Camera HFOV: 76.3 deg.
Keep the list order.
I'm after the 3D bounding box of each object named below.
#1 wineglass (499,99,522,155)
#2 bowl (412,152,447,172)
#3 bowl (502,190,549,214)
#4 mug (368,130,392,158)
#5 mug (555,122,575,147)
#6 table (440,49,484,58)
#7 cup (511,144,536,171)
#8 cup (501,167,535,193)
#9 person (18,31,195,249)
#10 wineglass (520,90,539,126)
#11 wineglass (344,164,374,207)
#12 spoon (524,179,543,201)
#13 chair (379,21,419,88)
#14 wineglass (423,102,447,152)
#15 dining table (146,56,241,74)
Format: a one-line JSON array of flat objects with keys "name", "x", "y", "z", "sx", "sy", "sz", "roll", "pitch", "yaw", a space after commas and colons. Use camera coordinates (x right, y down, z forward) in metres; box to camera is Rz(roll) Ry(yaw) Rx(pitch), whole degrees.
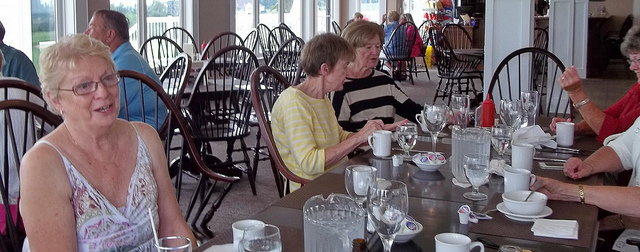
[{"name": "wineglass", "x": 1.849, "y": 0.008, "z": 3.950, "sx": 0.203, "sy": 0.475, "sz": 0.201, "roll": -6, "pitch": 8, "yaw": -38}, {"name": "bowl", "x": 0.940, "y": 0.296, "z": 3.523, "sx": 0.264, "sy": 0.111, "sz": 0.254, "roll": -6, "pitch": 20, "yaw": 2}, {"name": "bowl", "x": 1.548, "y": 0.590, "z": 3.078, "sx": 0.309, "sy": 0.115, "sz": 0.312, "roll": -3, "pitch": 6, "yaw": 0}, {"name": "mug", "x": 0.567, "y": 0.174, "z": 3.794, "sx": 0.215, "sy": 0.273, "sz": 0.311, "roll": 0, "pitch": -8, "yaw": -22}, {"name": "mug", "x": 2.336, "y": 0.074, "z": 3.840, "sx": 0.249, "sy": 0.216, "sz": 0.134, "roll": -3, "pitch": 8, "yaw": -11}, {"name": "table", "x": 2.896, "y": -1.414, "z": 7.930, "sx": 0.515, "sy": 0.193, "sz": 0.888, "roll": 1, "pitch": 8, "yaw": 17}, {"name": "cup", "x": 1.744, "y": 0.278, "z": 3.512, "sx": 0.181, "sy": 0.242, "sz": 0.289, "roll": 5, "pitch": 10, "yaw": 32}, {"name": "cup", "x": 1.594, "y": 0.436, "z": 3.199, "sx": 0.192, "sy": 0.164, "sz": 0.237, "roll": -6, "pitch": 5, "yaw": -20}, {"name": "person", "x": -1.716, "y": 0.127, "z": 3.117, "sx": 1.137, "sy": 1.647, "sz": 0.325, "roll": -4, "pitch": 8, "yaw": -18}, {"name": "wineglass", "x": 2.064, "y": -0.181, "z": 4.017, "sx": 0.140, "sy": 0.325, "sz": 0.259, "roll": 3, "pitch": 9, "yaw": 33}, {"name": "wineglass", "x": 0.314, "y": 0.470, "z": 3.120, "sx": 0.220, "sy": 0.302, "sz": 0.214, "roll": 2, "pitch": 8, "yaw": 10}, {"name": "spoon", "x": 1.637, "y": 0.489, "z": 3.120, "sx": 0.189, "sy": 0.031, "sz": 0.038, "roll": -42, "pitch": 36, "yaw": -10}, {"name": "chair", "x": 2.061, "y": -1.740, "z": 9.922, "sx": 1.043, "sy": 1.232, "sz": 0.916, "roll": 1, "pitch": 8, "yaw": -31}, {"name": "wineglass", "x": 1.059, "y": 0.007, "z": 3.742, "sx": 0.205, "sy": 0.415, "sz": 0.304, "roll": 6, "pitch": 10, "yaw": 43}, {"name": "dining table", "x": -2.041, "y": -1.108, "z": 7.097, "sx": 1.704, "sy": 0.313, "sz": 1.245, "roll": 1, "pitch": 2, "yaw": 5}]
